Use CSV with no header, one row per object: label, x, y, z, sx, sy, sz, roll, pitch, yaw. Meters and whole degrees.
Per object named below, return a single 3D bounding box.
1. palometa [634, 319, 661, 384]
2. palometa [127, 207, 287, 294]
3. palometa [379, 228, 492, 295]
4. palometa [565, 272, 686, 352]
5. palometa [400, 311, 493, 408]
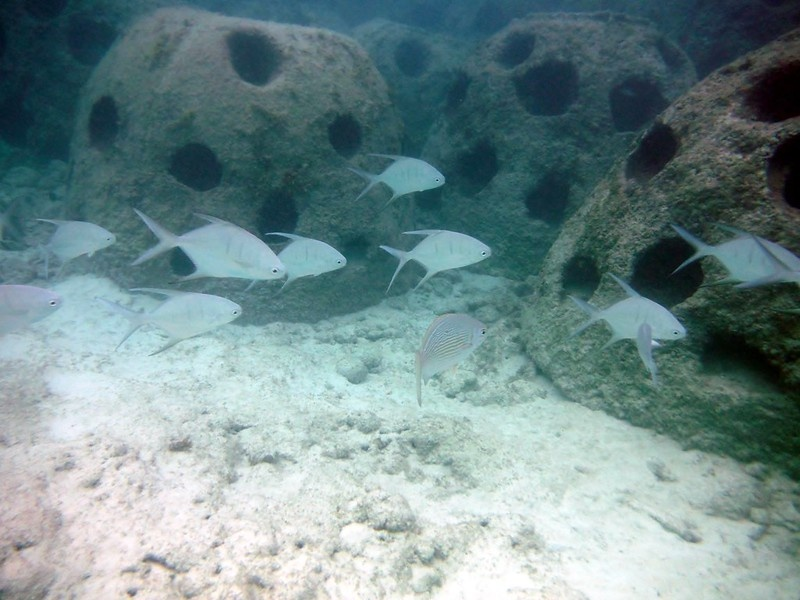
palometa,2.343,0.478,5.745,0.098,0.636,0.245,6,-12,-15
palometa,-1.845,-0.487,6.022,1.415,0.707,0.289,10,26,-8
palometa,0.422,-0.497,6.551,1.192,0.676,0.254,-7,36,-7
palometa,2.116,0.130,5.675,1.002,0.732,0.283,11,23,36
palometa,0.397,0.418,5.567,1.029,0.592,0.264,-24,28,-24
